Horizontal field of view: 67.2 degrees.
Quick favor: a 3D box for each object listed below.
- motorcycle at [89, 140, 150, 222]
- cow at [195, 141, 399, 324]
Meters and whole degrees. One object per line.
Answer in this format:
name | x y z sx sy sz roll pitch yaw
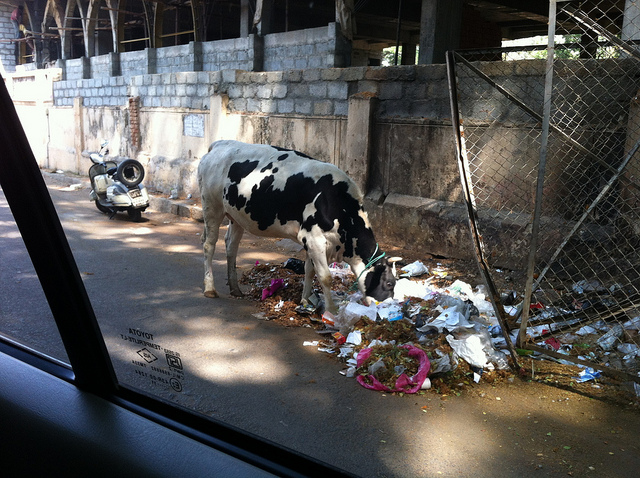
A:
motorcycle | -4.309 -1.236 10.426 1.290 1.668 0.765 8 14 29
cow | -0.305 -0.080 5.706 2.801 1.850 0.798 10 12 25
